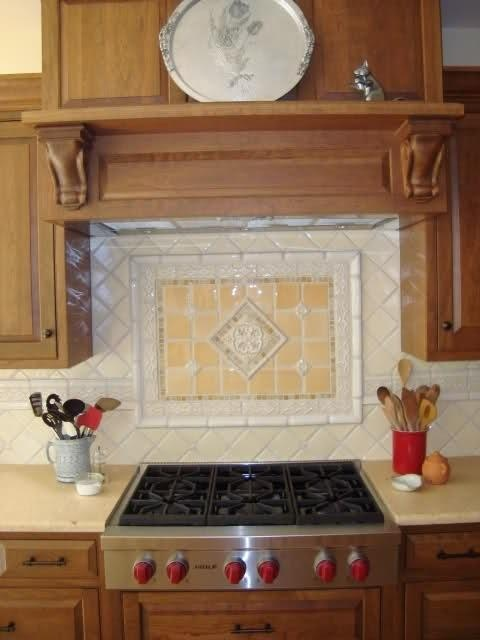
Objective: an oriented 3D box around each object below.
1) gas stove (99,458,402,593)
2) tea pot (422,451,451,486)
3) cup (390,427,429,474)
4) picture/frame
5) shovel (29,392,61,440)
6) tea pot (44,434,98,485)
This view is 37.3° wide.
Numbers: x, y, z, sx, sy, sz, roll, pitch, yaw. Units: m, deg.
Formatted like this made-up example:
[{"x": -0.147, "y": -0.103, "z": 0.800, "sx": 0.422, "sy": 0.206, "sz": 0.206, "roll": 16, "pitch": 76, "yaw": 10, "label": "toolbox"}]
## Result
[{"x": 0.036, "y": 0.674, "z": 2.319, "sx": 0.900, "sy": 0.220, "sz": 0.545, "roll": -2, "pitch": 13, "yaw": 0, "label": "gas stove"}, {"x": 0.669, "y": 0.503, "z": 2.414, "sx": 0.090, "sy": 0.101, "sz": 0.073, "roll": 1, "pitch": 14, "yaw": 13, "label": "tea pot"}, {"x": 0.580, "y": 0.452, "z": 2.464, "sx": 0.153, "sy": 0.144, "sz": 0.151, "roll": 1, "pitch": -3, "yaw": 0, "label": "cup"}, {"x": 0.031, "y": 0.072, "z": 2.666, "sx": 0.845, "sy": 0.632, "sz": 0.166, "roll": -2, "pitch": 14, "yaw": 2, "label": "picture/frame"}, {"x": -0.681, "y": 0.302, "z": 2.485, "sx": 0.071, "sy": 0.232, "sz": 0.041, "roll": -16, "pitch": -11, "yaw": 6, "label": "shovel"}, {"x": -0.582, "y": 0.477, "z": 2.555, "sx": 0.262, "sy": 0.196, "sz": 0.151, "roll": 0, "pitch": -3, "yaw": -4, "label": "tea pot"}]
